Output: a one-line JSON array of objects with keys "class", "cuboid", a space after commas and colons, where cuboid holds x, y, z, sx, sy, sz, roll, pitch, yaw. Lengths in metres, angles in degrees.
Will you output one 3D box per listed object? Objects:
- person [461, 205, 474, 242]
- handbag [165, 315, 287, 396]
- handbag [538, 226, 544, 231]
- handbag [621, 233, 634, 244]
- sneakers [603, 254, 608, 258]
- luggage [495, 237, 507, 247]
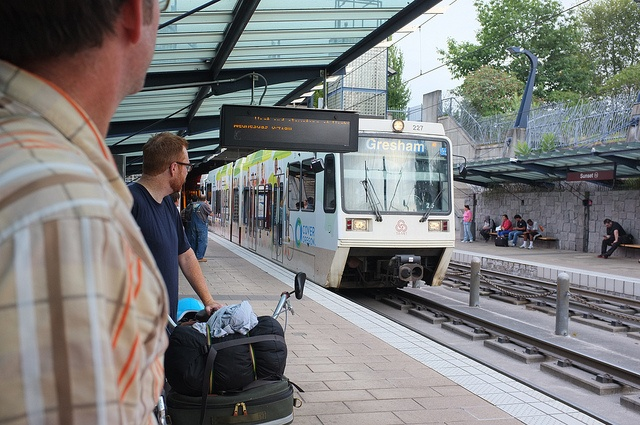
[{"class": "person", "cuboid": [7.848, 0.572, 26.633, 0.507, 1.952, 1.494, 2, 2, 17]}, {"class": "handbag", "cuboid": [-0.588, 0.709, 3.027, 0.818, 0.463, 0.400, -1, 5, -30]}, {"class": "handbag", "cuboid": [9.987, 0.732, 22.793, 0.074, 0.273, 0.291, -13, -15, 26]}, {"class": "handbag", "cuboid": [11.178, 0.963, 18.257, 0.362, 0.368, 0.374, 2, -3, -12]}, {"class": "sneakers", "cuboid": [10.214, 1.596, 18.006, 0.159, 0.123, 0.388, 2, 2, 34]}, {"class": "luggage", "cuboid": [8.479, 1.383, 23.471, 0.450, 0.431, 0.430, 0, 4, 5]}]
